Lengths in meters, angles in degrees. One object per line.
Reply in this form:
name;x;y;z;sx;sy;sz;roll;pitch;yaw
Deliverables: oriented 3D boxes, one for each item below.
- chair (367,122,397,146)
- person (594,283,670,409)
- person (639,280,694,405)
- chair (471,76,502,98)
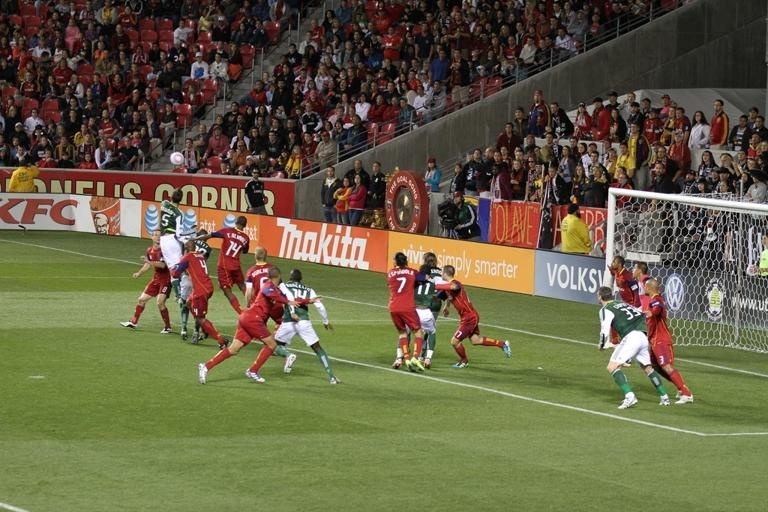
chair;-0.045;-4.073;41.293;0.845;0.947;0.704;0;3;-43
person;4.922;1.864;24.521;1.261;2.694;1.170;18;-36;-28
person;5.865;1.875;25.717;1.137;2.552;1.586;-10;-19;23
chair;3.400;-5.585;41.061;0.821;0.954;0.700;-12;23;-38
